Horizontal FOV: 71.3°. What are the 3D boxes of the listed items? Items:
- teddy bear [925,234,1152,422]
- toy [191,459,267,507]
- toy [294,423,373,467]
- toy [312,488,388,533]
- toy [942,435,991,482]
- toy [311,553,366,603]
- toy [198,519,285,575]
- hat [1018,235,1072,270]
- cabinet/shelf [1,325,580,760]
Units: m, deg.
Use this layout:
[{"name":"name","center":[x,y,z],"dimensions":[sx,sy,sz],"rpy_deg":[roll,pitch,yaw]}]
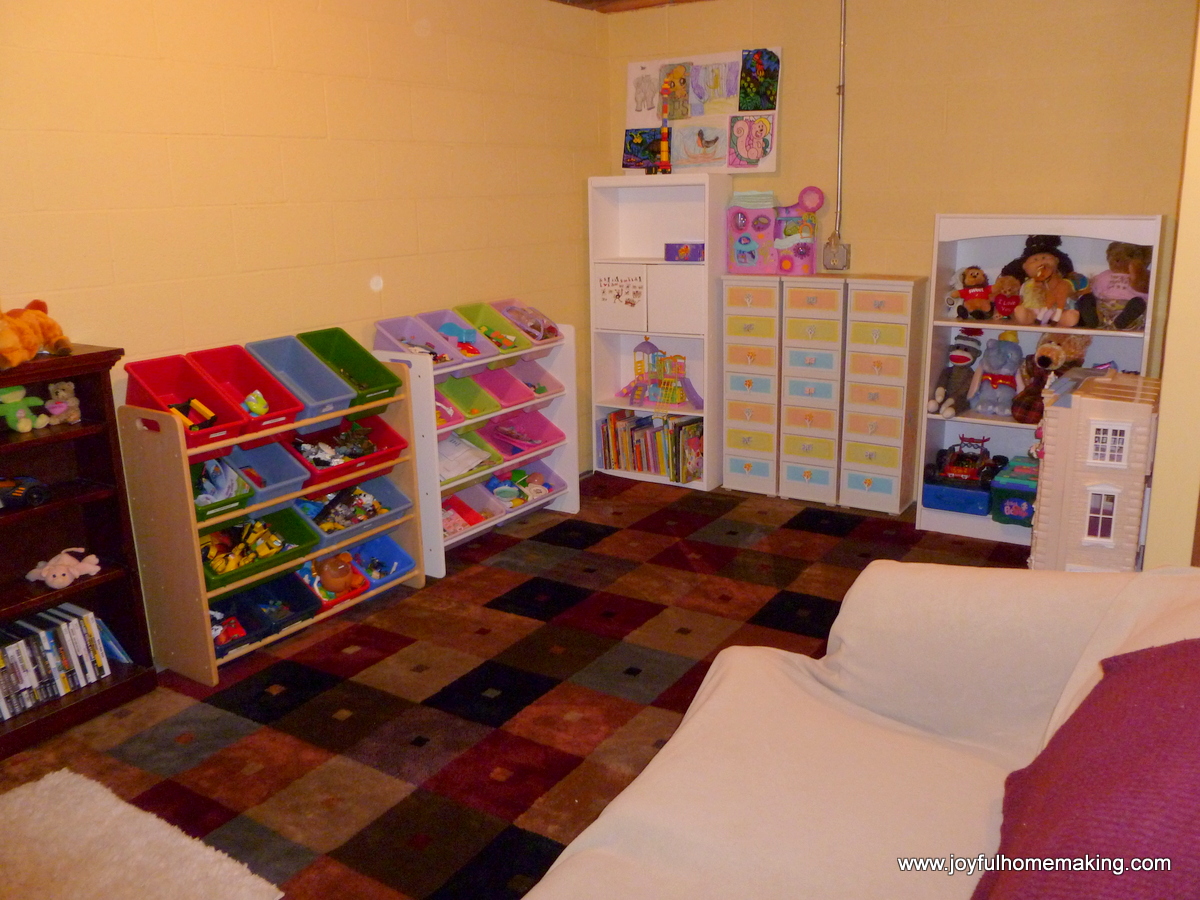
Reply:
[{"name":"teddy bear","center":[2.202,-0.618,4.160],"dimensions":[0.899,0.861,0.289],"rpy_deg":[9,19,30]},{"name":"toy","center":[-1.521,0.138,3.364],"dimensions":[0.196,0.079,0.242],"rpy_deg":[-13,29,-29]},{"name":"toy","center":[-1.182,-0.019,3.749],"dimensions":[0.225,0.067,0.223],"rpy_deg":[-15,34,-29]},{"name":"toy","center":[-1.146,0.277,3.804],"dimensions":[0.244,0.070,0.174],"rpy_deg":[-19,42,-31]},{"name":"toy","center":[1.974,0.037,4.522],"dimensions":[0.216,0.112,0.294],"rpy_deg":[8,33,27]},{"name":"toy","center":[-1.186,0.587,3.845],"dimensions":[0.216,0.212,0.128],"rpy_deg":[-21,0,-29]},{"name":"toy","center":[-1.488,0.399,3.419],"dimensions":[0.227,0.067,0.230],"rpy_deg":[9,19,27]},{"name":"hat","center":[2.253,-1.028,4.232],"dimensions":[0.156,0.118,0.211],"rpy_deg":[-14,32,-1]},{"name":"cabinet/shelf","center":[-1.323,0.395,3.410],"dimensions":[0.353,0.657,1.569],"rpy_deg":[10,24,30]}]
